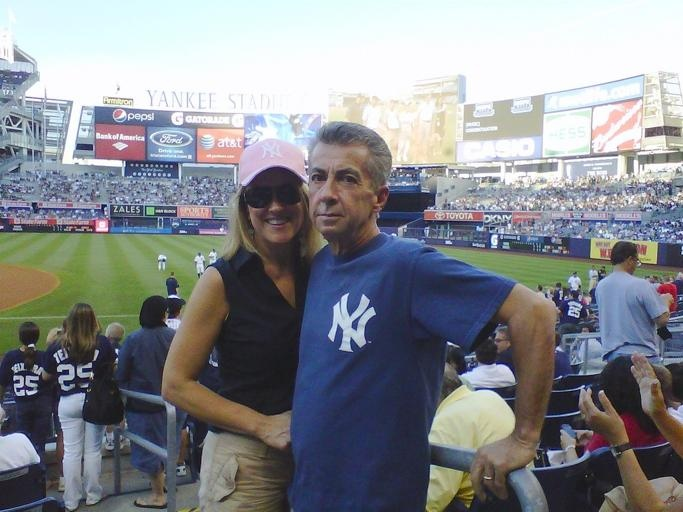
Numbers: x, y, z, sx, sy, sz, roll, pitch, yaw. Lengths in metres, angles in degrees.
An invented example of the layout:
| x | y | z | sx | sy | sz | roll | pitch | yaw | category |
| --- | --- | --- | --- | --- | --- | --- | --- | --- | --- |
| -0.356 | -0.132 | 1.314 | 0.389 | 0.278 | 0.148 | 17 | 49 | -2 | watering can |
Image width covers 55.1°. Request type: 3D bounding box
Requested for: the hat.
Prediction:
| x | y | z | sx | sy | sz | roll | pitch | yaw | category |
| --- | --- | --- | --- | --- | --- | --- | --- | --- | --- |
| -0.427 | -0.591 | 4.096 | 0.418 | 0.319 | 0.272 | 2 | 5 | -9 | hat |

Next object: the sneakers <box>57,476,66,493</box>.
| x | y | z | sx | sy | sz | roll | pitch | yaw | category |
| --- | --- | --- | --- | --- | --- | --- | --- | --- | --- |
| -2.917 | 2.381 | 6.821 | 0.082 | 0.159 | 0.223 | 2 | -1 | -17 | sneakers |
